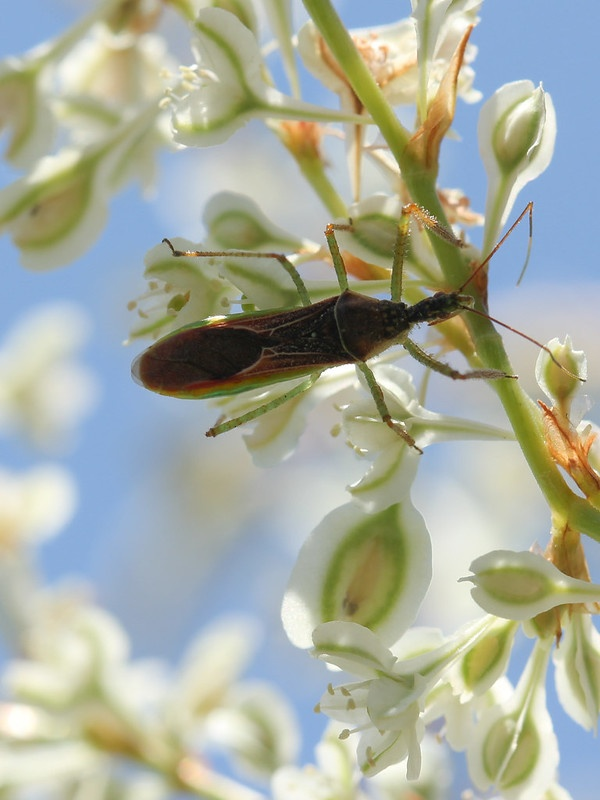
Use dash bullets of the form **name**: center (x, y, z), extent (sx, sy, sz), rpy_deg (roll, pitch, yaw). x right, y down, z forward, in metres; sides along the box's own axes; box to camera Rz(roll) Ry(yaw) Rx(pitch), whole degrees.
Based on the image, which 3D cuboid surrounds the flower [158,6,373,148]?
- **flower**: center (-0.160, -0.787, 3.063), extent (0.497, 0.169, 0.348), rpy_deg (36, -70, -19)
